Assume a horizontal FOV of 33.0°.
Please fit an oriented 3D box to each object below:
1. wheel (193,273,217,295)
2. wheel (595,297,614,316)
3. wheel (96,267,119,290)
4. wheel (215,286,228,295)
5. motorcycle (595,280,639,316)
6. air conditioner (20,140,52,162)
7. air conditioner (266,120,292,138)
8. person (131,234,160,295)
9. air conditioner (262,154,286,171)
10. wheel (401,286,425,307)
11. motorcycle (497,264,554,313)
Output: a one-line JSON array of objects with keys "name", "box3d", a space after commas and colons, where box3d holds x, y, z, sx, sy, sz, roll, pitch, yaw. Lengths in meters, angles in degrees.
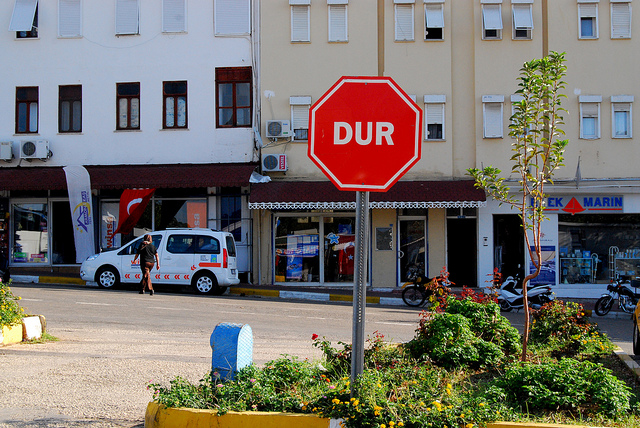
[{"name": "wheel", "box3d": [-4.451, 2.710, 42.010, 0.851, 0.876, 0.310, 1, -1, 3]}, {"name": "wheel", "box3d": [10.607, 3.467, 40.011, 0.667, 0.686, 0.183, -5, 7, -3]}, {"name": "wheel", "box3d": [-8.261, 2.502, 42.031, 0.842, 0.867, 0.308, 2, 1, 5]}, {"name": "wheel", "box3d": [-3.835, 3.050, 42.559, 0.346, 0.359, 0.356, 0, -4, 0]}, {"name": "motorcycle", "box3d": [11.086, 3.185, 40.346, 1.550, 1.013, 0.963, 4, -1, -1]}, {"name": "air conditioner", "box3d": [-11.887, -2.458, 45.276, 1.380, 0.984, 0.714, 0, -3, -1]}, {"name": "air conditioner", "box3d": [-1.713, -3.235, 44.748, 1.146, 0.824, 0.628, 0, -7, -5]}, {"name": "person", "box3d": [-6.557, 1.942, 41.102, 0.915, 2.273, 1.162, 1, -2, -10]}, {"name": "air conditioner", "box3d": [-1.849, -2.076, 44.424, 1.054, 0.770, 0.583, 0, -4, 0]}, {"name": "wheel", "box3d": [3.634, 3.167, 41.088, 1.071, 1.108, 0.282, 0, -1, 18]}, {"name": "motorcycle", "box3d": [7.530, 2.755, 39.621, 2.142, 1.655, 1.008, -4, 5, 25]}]
